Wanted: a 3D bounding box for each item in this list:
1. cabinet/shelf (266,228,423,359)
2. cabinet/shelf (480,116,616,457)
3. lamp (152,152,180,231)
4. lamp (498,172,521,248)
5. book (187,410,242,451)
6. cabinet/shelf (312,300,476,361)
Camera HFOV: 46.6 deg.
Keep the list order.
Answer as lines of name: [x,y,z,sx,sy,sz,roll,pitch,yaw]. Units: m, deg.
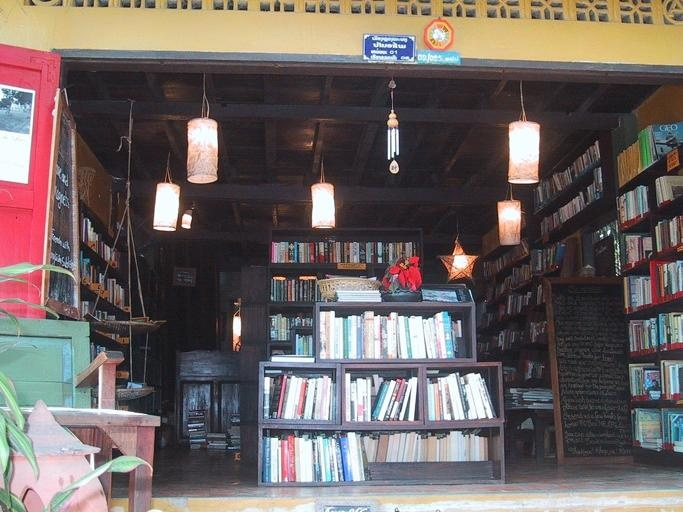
cabinet/shelf: [-0.044,0.386,7.928,1.396,1.372,0.391,1,-13,-6]
cabinet/shelf: [2.196,0.283,8.206,0.921,2.851,2.890,0,-11,5]
lamp: [-1.706,-0.489,7.675,0.222,0.504,0.290,1,-15,-16]
lamp: [1.780,-0.554,8.406,0.262,0.261,0.919,10,-50,24]
book: [-1.658,2.218,10.165,0.687,0.595,1.376,0,-15,-12]
cabinet/shelf: [0.388,0.598,6.265,1.277,0.507,0.398,0,-2,-5]
